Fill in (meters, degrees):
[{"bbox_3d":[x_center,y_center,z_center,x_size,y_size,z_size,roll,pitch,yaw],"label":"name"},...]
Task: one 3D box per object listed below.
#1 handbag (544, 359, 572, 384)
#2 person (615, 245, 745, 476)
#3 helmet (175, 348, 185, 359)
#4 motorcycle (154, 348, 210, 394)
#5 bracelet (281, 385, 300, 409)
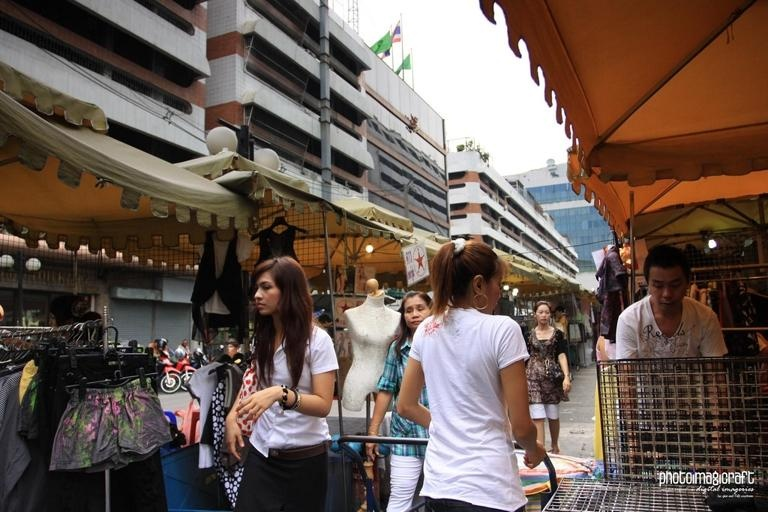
[{"bbox_3d":[2.629,1.761,9.037,0.312,0.451,0.572,-11,-17,37],"label":"handbag"},{"bbox_3d":[2.046,0.704,4.341,0.811,1.650,0.814,-6,-14,21],"label":"person"},{"bbox_3d":[-6.884,3.314,20.199,0.220,0.343,0.272,0,-3,-6],"label":"helmet"},{"bbox_3d":[-6.568,3.733,19.344,1.289,1.466,2.386,2,-14,-13],"label":"motorcycle"},{"bbox_3d":[-0.700,1.070,4.471,0.132,0.176,0.088,3,-2,-11],"label":"bracelet"}]
